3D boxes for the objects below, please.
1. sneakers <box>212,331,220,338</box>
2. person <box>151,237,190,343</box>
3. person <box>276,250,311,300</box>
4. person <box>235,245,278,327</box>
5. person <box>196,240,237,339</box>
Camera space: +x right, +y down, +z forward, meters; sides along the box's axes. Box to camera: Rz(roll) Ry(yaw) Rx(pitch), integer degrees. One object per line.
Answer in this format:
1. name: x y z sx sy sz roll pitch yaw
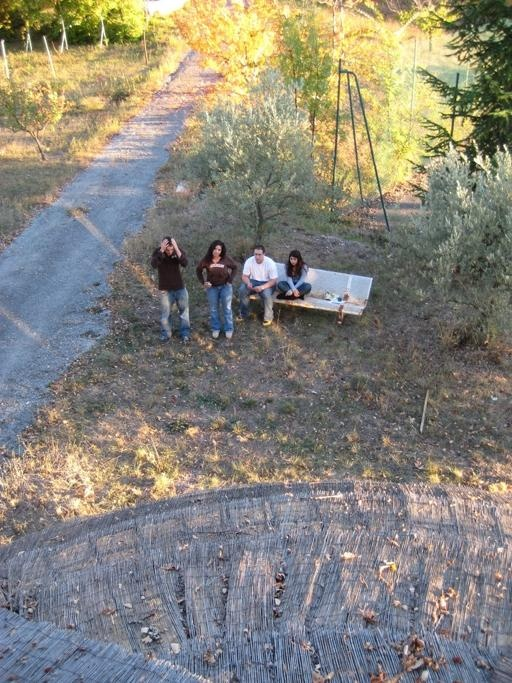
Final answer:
1. sneakers: -0.560 -0.084 10.557 0.093 0.087 0.139 -4 -8 -7
2. person: -1.135 -0.721 10.157 0.475 1.522 0.528 -1 27 -6
3. person: 0.550 -0.987 11.038 0.492 0.816 0.448 3 27 3
4. person: 0.011 -0.849 10.937 0.585 1.157 0.437 11 28 18
5. person: -0.546 -0.803 10.651 0.515 1.475 0.890 1 27 -2
